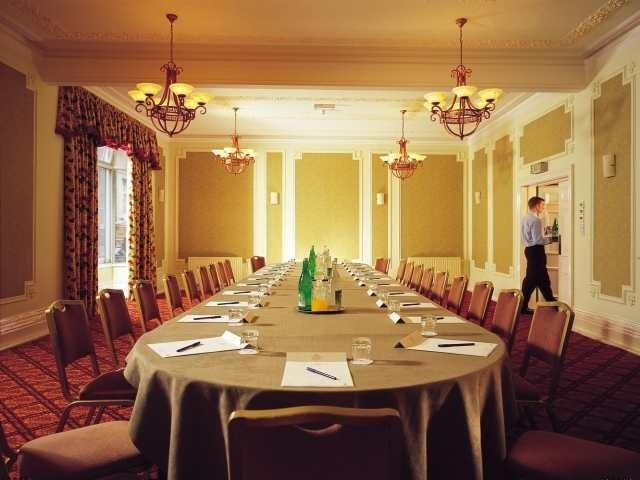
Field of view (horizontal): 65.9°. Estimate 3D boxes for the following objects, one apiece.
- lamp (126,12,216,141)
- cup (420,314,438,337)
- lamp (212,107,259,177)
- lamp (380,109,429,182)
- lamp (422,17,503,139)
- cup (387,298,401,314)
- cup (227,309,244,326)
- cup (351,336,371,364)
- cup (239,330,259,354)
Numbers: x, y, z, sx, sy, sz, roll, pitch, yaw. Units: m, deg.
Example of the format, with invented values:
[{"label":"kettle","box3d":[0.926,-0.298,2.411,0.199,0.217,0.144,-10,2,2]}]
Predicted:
[{"label":"lamp","box3d":[-1.606,-1.816,5.285,0.738,1.348,0.806,-1,-1,16]},{"label":"cup","box3d":[0.685,0.549,3.109,0.089,0.117,0.119,0,-3,0]},{"label":"lamp","box3d":[-1.395,-1.699,8.140,0.633,1.113,0.599,-2,21,-15]},{"label":"lamp","box3d":[1.351,-1.592,8.085,0.613,1.215,0.713,-2,-6,31]},{"label":"lamp","box3d":[1.538,-1.768,5.394,0.877,1.326,0.735,-2,2,-26]},{"label":"cup","box3d":[0.538,0.486,3.586,0.081,0.091,0.158,-2,-4,10]},{"label":"cup","box3d":[-0.575,0.522,3.303,0.091,0.098,0.096,0,-7,0]},{"label":"cup","box3d":[0.218,0.597,2.656,0.110,0.135,0.119,1,-5,0]},{"label":"cup","box3d":[-0.389,0.572,2.780,0.108,0.126,0.114,1,-4,0]}]
